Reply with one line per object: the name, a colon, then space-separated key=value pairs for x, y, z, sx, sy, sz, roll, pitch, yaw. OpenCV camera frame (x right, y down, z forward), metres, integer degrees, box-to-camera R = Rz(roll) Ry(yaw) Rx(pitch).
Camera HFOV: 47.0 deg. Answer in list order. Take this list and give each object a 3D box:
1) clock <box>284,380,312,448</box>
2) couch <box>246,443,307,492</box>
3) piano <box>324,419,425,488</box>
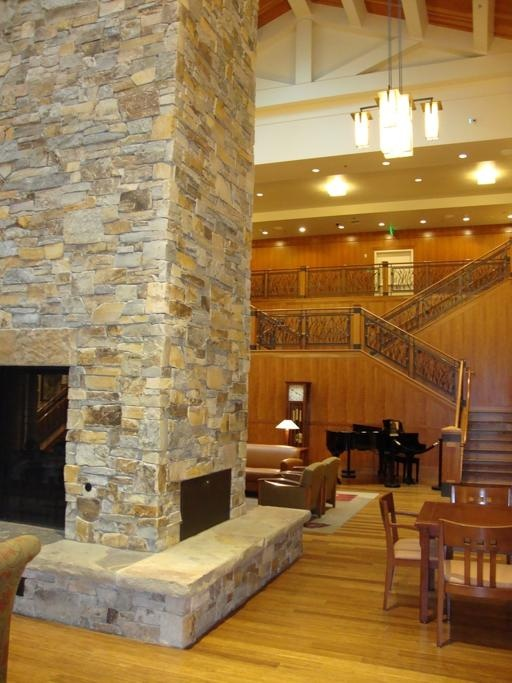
clock: x=0.829 y=1.412 z=11.381 sx=0.440 sy=1.231 sz=0.256 roll=2 pitch=-7 yaw=-6
couch: x=0.074 y=1.915 z=8.755 sx=1.123 sy=0.682 sz=0.651 roll=0 pitch=-8 yaw=29
piano: x=2.201 y=1.853 z=10.071 sx=1.485 sy=0.837 sz=1.222 roll=-2 pitch=-2 yaw=26
